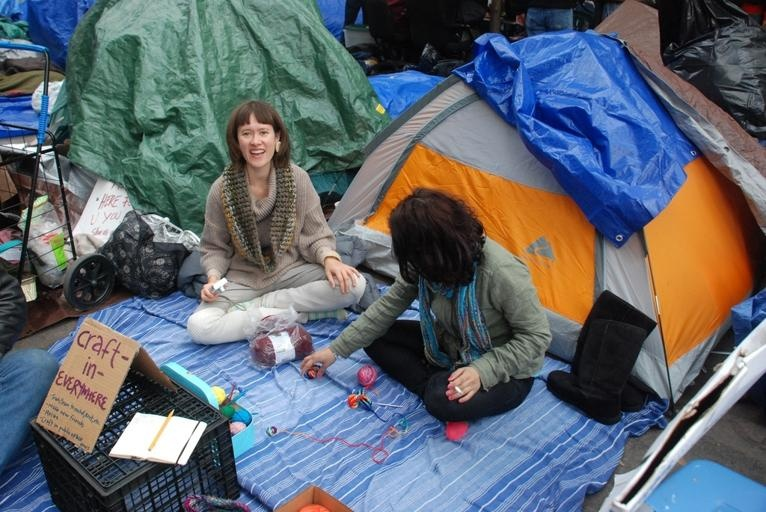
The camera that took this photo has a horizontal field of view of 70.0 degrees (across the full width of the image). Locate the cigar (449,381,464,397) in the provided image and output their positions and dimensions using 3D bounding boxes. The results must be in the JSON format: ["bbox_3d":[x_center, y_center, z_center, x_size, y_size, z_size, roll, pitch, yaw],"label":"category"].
[{"bbox_3d":[0.382,0.712,2.902,0.062,0.067,0.020,4,28,30],"label":"cigar"}]

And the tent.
[{"bbox_3d":[1.283,0.008,3.921,2.508,1.386,2.450,-31,45,-32],"label":"tent"}]

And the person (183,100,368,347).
[{"bbox_3d":[-0.776,-0.261,3.686,1.210,1.430,0.929,-5,28,-16],"label":"person"}]

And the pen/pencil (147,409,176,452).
[{"bbox_3d":[-0.990,0.783,2.508,0.027,0.026,0.254,-29,22,40],"label":"pen/pencil"}]

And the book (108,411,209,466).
[{"bbox_3d":[-1.012,0.824,2.468,0.371,0.092,0.228,8,33,9],"label":"book"}]

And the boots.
[{"bbox_3d":[1.322,0.590,3.197,0.519,0.535,0.522,25,40,33],"label":"boots"}]

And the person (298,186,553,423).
[{"bbox_3d":[0.329,0.262,2.959,1.104,1.283,0.552,18,35,24],"label":"person"}]

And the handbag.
[{"bbox_3d":[-1.791,0.003,4.330,0.691,0.543,0.341,34,-5,-5],"label":"handbag"}]
